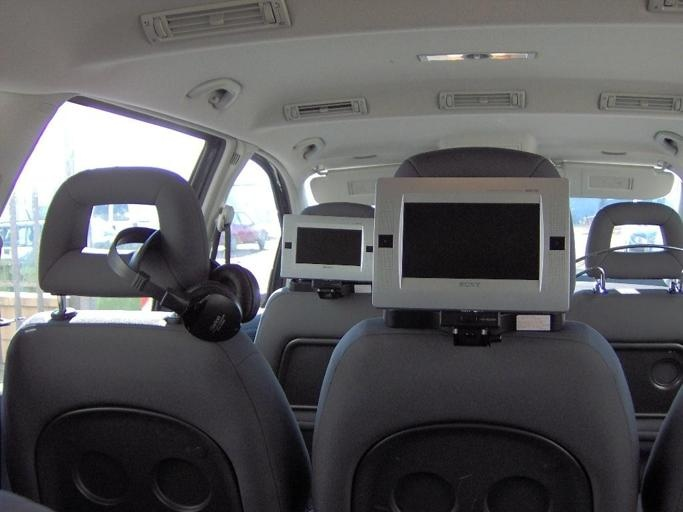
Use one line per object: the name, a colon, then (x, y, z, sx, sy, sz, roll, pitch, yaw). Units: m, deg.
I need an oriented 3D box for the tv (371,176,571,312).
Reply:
tv: (0.341, -0.028, 1.535, 0.554, 0.419, 0.319, 1, -3, 4)

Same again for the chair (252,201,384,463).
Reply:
chair: (-0.122, 0.343, 3.079, 0.601, 1.131, 0.616, 6, -8, -11)

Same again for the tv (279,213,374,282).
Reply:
tv: (-0.061, -0.037, 2.845, 0.500, 0.379, 0.285, 1, -17, 6)

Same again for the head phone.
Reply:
head phone: (-0.455, 0.084, 1.758, 0.428, 0.326, 0.188, 3, -4, -12)
